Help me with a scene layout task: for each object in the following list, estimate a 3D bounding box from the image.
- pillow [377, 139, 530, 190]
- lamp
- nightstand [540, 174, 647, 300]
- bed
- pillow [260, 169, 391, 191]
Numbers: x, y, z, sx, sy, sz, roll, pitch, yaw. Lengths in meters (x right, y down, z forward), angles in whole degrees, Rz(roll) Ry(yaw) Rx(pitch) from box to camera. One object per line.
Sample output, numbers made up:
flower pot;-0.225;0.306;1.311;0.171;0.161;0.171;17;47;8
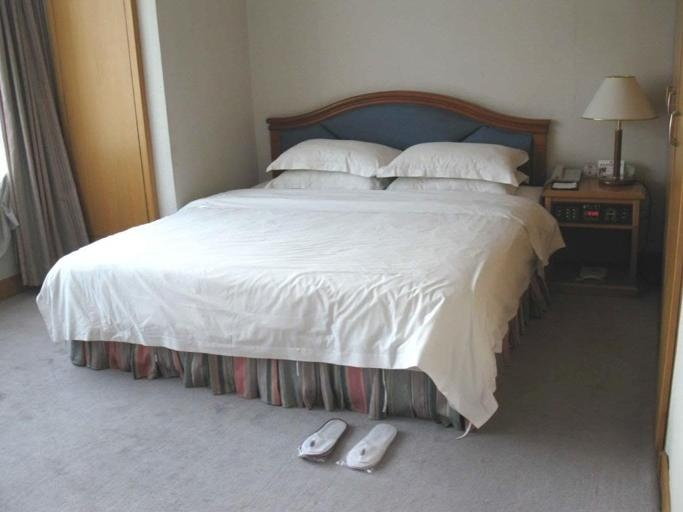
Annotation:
pillow;0.801;-0.688;3.934;0.599;0.158;0.548;7;28;23
lamp;1.980;-0.903;3.888;0.444;0.748;0.444;-17;25;-18
nightstand;1.872;-0.224;4.021;0.701;0.688;0.596;0;21;24
bed;0.133;-0.120;3.297;1.998;1.198;2.433;8;31;20
pillow;-0.138;-0.587;4.237;0.546;0.105;0.402;3;18;6
